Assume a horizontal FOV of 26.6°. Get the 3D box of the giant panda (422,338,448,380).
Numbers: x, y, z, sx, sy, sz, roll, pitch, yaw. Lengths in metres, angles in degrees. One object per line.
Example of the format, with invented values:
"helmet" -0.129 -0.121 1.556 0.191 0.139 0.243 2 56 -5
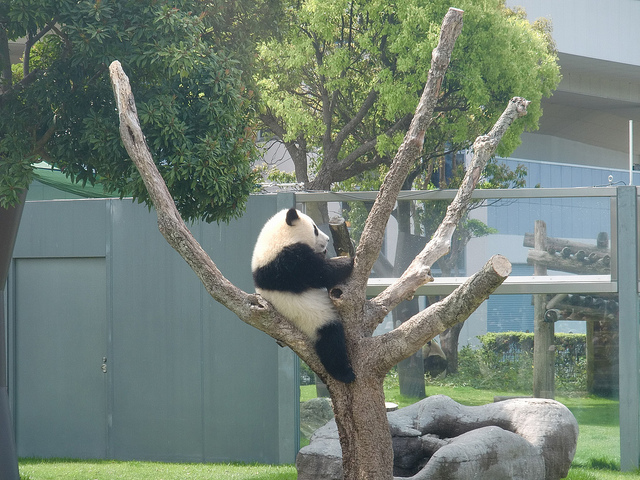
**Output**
"giant panda" 2.103 2.306 24.917 0.561 0.696 0.238 -9 -13 44
